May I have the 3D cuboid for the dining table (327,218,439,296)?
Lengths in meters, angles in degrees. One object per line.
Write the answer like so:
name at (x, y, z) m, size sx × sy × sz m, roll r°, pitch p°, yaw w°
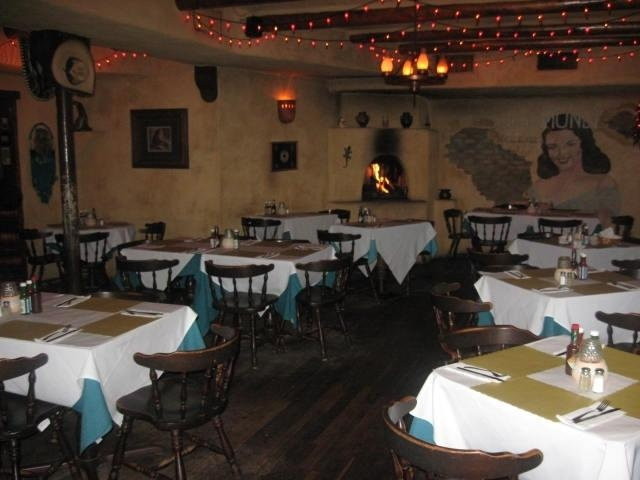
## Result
dining table at (0.892, 0.012, 6.912) m, size 1.248 × 0.620 × 0.889 m, roll 9°, pitch 14°, yaw 40°

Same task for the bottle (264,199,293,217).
bottle at (-0.766, -0.536, 8.552) m, size 0.346 × 0.258 × 0.349 m, roll 1°, pitch 1°, yaw 0°

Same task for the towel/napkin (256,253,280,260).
towel/napkin at (-0.519, 0.161, 5.030) m, size 0.206 × 0.041 × 0.253 m, roll -2°, pitch 3°, yaw 3°

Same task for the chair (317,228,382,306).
chair at (0.382, 0.349, 6.200) m, size 0.884 × 1.247 × 0.842 m, roll -1°, pitch 8°, yaw -4°

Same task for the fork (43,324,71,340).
fork at (-1.560, 0.551, 3.000) m, size 0.060 × 0.019 × 0.122 m, roll 7°, pitch 13°, yaw 17°

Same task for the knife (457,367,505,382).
knife at (0.812, 0.675, 2.574) m, size 0.236 × 0.027 × 0.070 m, roll 7°, pitch 11°, yaw 36°

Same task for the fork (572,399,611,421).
fork at (1.196, 0.759, 2.221) m, size 0.251 × 0.028 × 0.074 m, roll -13°, pitch 18°, yaw -32°

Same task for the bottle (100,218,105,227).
bottle at (-3.202, -0.251, 7.371) m, size 0.090 × 0.123 × 0.038 m, roll -3°, pitch -10°, yaw -3°

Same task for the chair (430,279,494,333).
chair at (1.214, 0.586, 4.338) m, size 0.380 × 0.535 × 0.481 m, roll -4°, pitch 14°, yaw -1°

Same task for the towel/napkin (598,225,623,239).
towel/napkin at (4.059, -0.112, 7.080) m, size 0.327 × 0.229 × 0.461 m, roll 5°, pitch 6°, yaw 26°

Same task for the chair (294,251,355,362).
chair at (0.024, 0.637, 5.243) m, size 0.528 × 0.934 × 1.149 m, roll -3°, pitch 3°, yaw -3°

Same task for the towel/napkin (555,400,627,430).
towel/napkin at (1.182, 0.768, 2.202) m, size 0.209 × 0.036 × 0.115 m, roll -9°, pitch 11°, yaw -29°

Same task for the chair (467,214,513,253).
chair at (2.604, -0.100, 7.772) m, size 0.659 × 0.846 × 0.617 m, roll 4°, pitch 20°, yaw 19°

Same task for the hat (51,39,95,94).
hat at (-2.644, -1.892, 5.399) m, size 0.185 × 0.622 × 0.549 m, roll -2°, pitch 4°, yaw 11°

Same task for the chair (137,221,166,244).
chair at (-2.479, -0.124, 7.381) m, size 0.383 × 0.502 × 0.351 m, roll 1°, pitch 5°, yaw 2°

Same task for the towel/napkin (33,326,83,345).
towel/napkin at (-1.560, 0.565, 3.014) m, size 0.173 × 0.042 × 0.269 m, roll -2°, pitch 3°, yaw 13°
